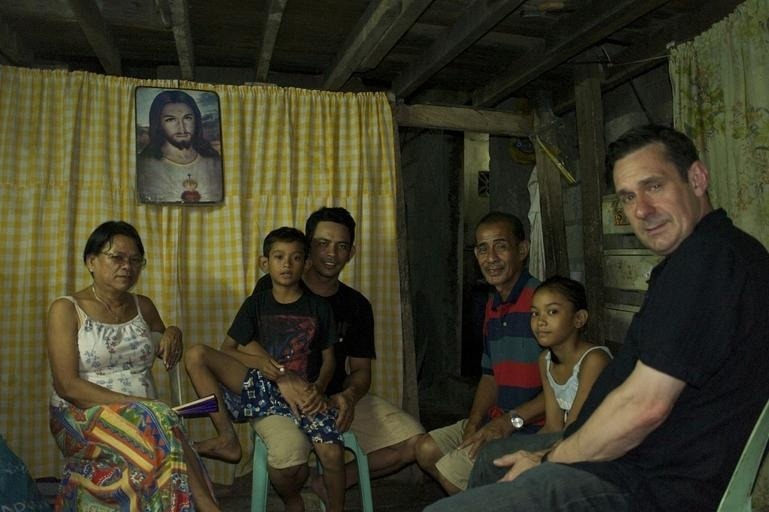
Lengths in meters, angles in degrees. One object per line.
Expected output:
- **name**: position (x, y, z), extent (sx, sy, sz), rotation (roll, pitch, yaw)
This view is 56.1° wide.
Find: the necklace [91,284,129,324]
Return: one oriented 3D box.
- **necklace**: position (-1.758, 0.303, 4.616), extent (0.042, 0.222, 0.172), rotation (-25, 2, 24)
